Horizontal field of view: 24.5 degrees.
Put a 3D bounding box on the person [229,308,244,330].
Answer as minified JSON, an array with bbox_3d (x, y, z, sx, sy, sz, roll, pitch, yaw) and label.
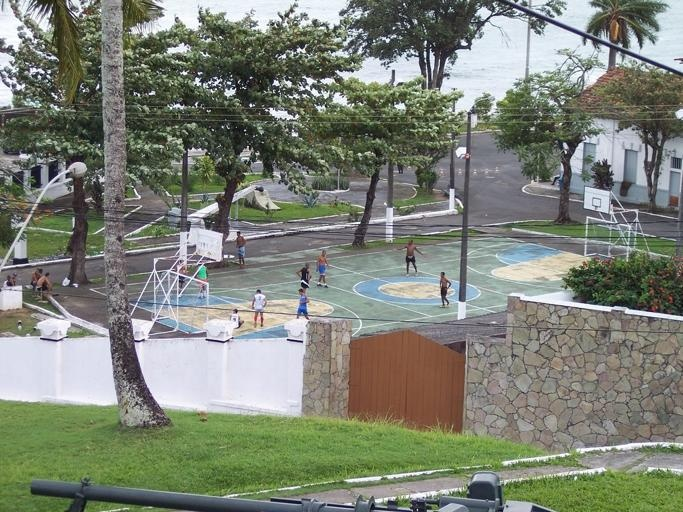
[{"bbox_3d":[-5.033,2.984,75.012,0.822,1.001,0.717,2,17,4],"label":"person"}]

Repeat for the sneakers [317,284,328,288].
[{"bbox_3d":[-1.027,1.529,83.974,0.551,0.171,0.231,15,-24,-15],"label":"sneakers"}]

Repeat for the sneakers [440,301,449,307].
[{"bbox_3d":[5.288,2.411,80.580,0.167,0.208,0.488,-1,14,-8],"label":"sneakers"}]
